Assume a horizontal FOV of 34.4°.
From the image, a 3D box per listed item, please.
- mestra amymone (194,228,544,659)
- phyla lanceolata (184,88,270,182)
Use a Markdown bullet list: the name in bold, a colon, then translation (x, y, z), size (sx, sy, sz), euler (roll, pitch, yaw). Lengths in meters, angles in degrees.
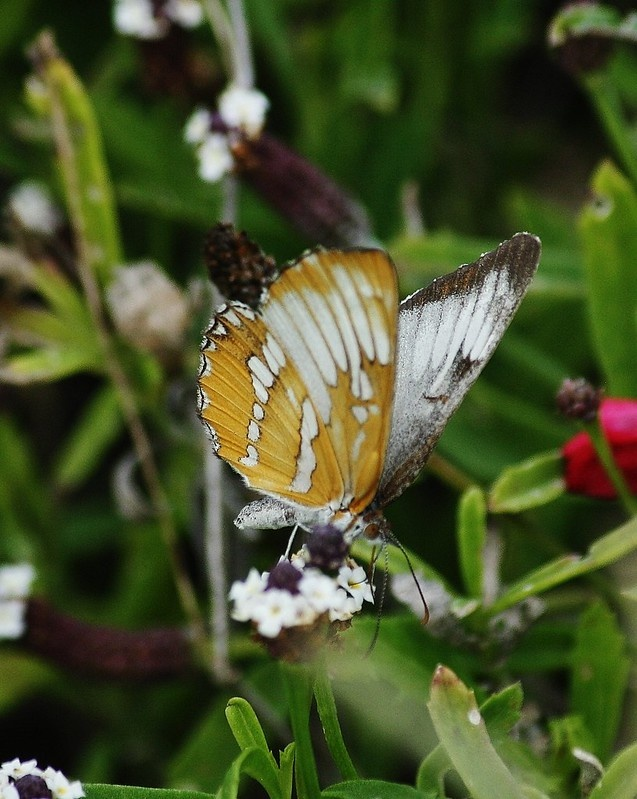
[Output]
- **mestra amymone**: translation (0.038, 0.024, 1.020), size (0.377, 0.363, 0.448), euler (4, 94, 23)
- **phyla lanceolata**: translation (-0.094, -0.274, 1.052), size (0.084, 0.114, 0.091), euler (-8, 56, -5)
